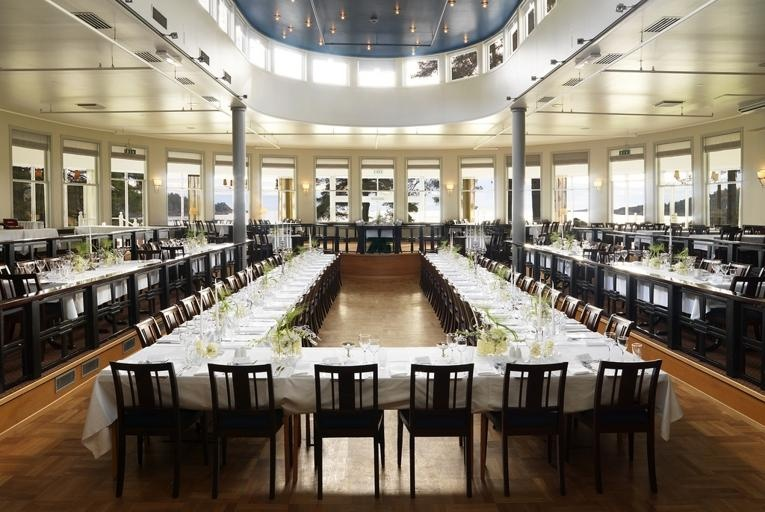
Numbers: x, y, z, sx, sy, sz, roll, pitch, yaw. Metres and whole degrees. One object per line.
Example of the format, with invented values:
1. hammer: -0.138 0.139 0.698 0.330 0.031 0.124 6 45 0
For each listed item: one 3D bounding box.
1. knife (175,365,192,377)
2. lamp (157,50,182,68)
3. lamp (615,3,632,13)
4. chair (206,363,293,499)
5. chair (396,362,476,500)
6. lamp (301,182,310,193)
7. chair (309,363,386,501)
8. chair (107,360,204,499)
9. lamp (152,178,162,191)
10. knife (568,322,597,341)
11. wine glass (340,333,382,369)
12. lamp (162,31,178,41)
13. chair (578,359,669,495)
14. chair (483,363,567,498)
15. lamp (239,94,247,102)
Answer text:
1. knife: -2.028 1.173 5.031 0.075 0.014 0.280 3 6 -17
2. lamp: -3.862 -3.591 8.885 0.259 0.204 0.661 0 5 9
3. lamp: 4.019 -4.143 8.218 0.246 0.132 0.140 2 2 12
4. chair: -1.346 1.661 4.929 0.827 1.309 0.576 -2 5 -7
5. chair: 0.569 1.667 4.854 0.630 1.303 0.412 -1 5 7
6. lamp: -3.355 -3.000 21.702 0.378 0.553 0.383 1 -2 -2
7. chair: -0.353 1.662 4.924 0.719 1.310 0.487 -1 5 -2
8. chair: -2.269 1.651 4.976 0.766 1.307 0.562 -1 5 2
9. lamp: -8.822 -2.799 19.277 0.297 0.426 0.203 -4 6 -29
10. knife: 2.418 0.923 5.996 0.333 0.070 0.641 1 5 19
11. wine glass: -0.212 1.012 5.285 0.354 0.222 0.358 0 0 -1
12. lamp: -3.837 -3.972 8.940 0.335 0.158 0.191 -2 8 -11
13. chair: 2.345 1.634 4.897 0.728 1.294 0.346 -1 5 1
14. chair: 1.417 1.648 4.999 0.856 1.289 0.650 0 5 10
15. lamp: -3.662 -4.138 12.903 0.181 0.113 0.178 -2 5 7
